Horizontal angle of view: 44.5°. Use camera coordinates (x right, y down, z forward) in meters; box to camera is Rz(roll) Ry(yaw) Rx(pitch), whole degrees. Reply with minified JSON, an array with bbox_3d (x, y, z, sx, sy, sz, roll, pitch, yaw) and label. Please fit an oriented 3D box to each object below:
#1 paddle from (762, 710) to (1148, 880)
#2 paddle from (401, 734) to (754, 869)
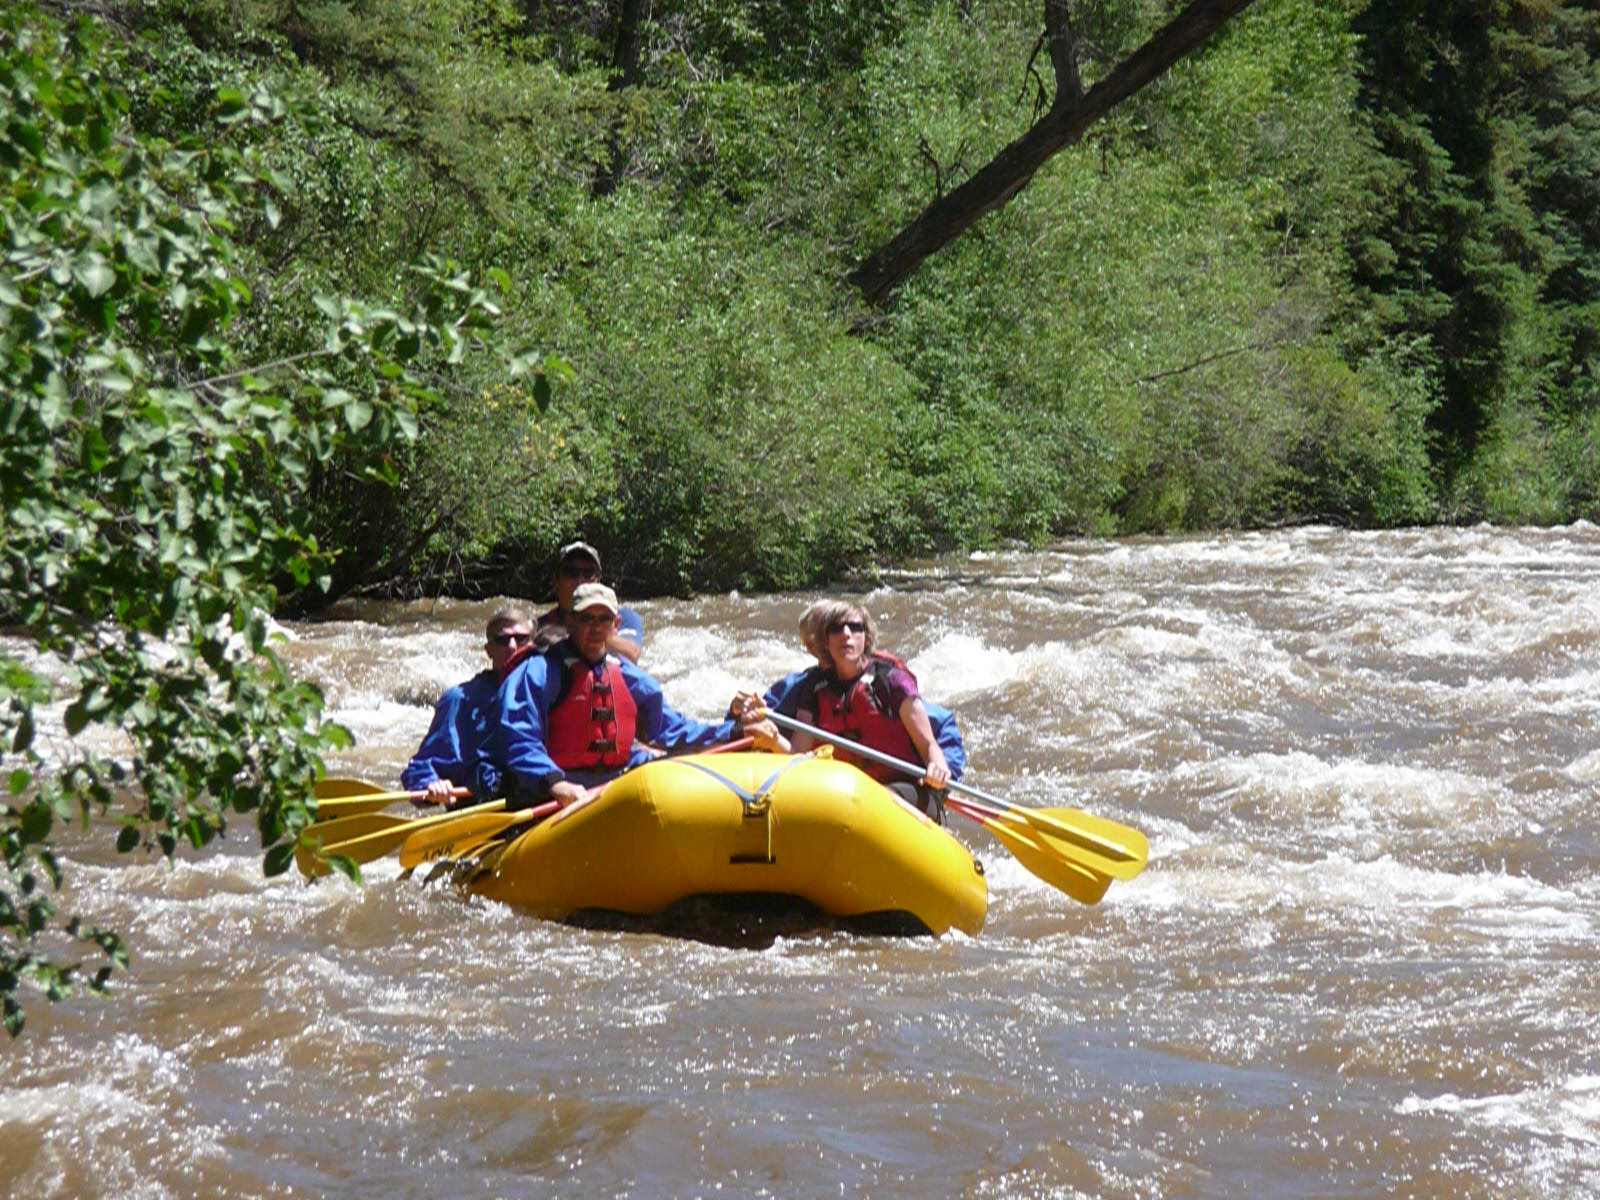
[{"bbox_3d":[0.714,0.937,9.204,1.649,0.223,0.195,23,-3,5],"label":"paddle"},{"bbox_3d":[-0.961,0.886,8.478,1.163,0.227,0.132,-20,41,-3],"label":"paddle"}]
